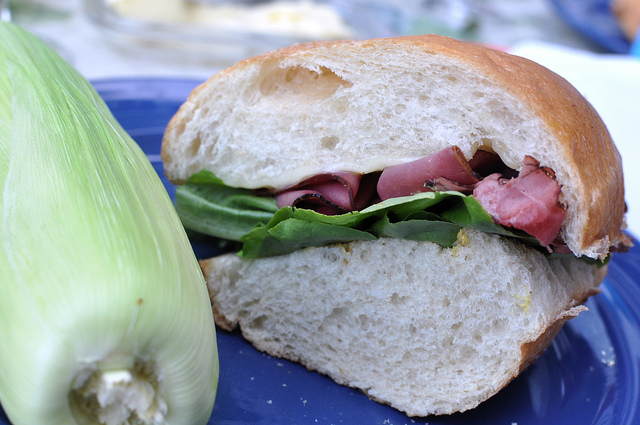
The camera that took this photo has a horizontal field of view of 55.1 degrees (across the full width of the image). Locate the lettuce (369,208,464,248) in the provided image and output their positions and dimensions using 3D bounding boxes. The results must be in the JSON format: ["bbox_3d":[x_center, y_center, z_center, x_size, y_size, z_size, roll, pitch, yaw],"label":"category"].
[{"bbox_3d":[0.365,0.053,2.197,0.166,0.209,0.066,10,84,-30],"label":"lettuce"}]

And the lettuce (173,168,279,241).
[{"bbox_3d":[-0.391,-0.018,2.512,0.362,0.301,0.158,10,76,-19],"label":"lettuce"}]
